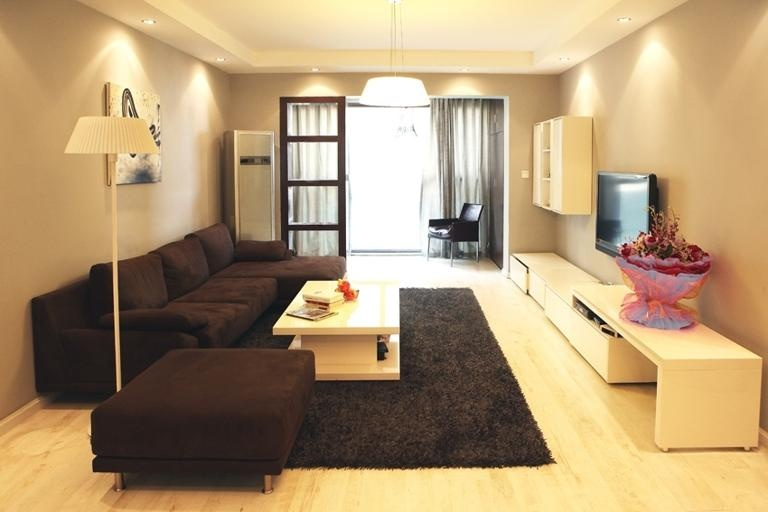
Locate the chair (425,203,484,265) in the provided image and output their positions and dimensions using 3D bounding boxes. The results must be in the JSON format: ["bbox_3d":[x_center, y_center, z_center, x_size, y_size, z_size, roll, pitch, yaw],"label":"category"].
[{"bbox_3d":[1.173,-0.424,9.106,0.756,0.861,0.743,-5,11,-35],"label":"chair"}]

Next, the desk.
[{"bbox_3d":[2.217,0.901,4.242,0.731,0.812,0.971,-3,11,-6],"label":"desk"}]

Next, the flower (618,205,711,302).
[{"bbox_3d":[2.231,0.059,4.453,0.695,0.558,0.655,-10,32,-4],"label":"flower"}]

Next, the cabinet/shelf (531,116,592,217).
[{"bbox_3d":[2.291,-1.185,7.241,0.377,1.161,1.349,-2,9,0],"label":"cabinet/shelf"}]

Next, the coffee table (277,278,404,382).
[{"bbox_3d":[-0.332,0.714,4.800,0.753,0.289,1.288,0,11,1],"label":"coffee table"}]
